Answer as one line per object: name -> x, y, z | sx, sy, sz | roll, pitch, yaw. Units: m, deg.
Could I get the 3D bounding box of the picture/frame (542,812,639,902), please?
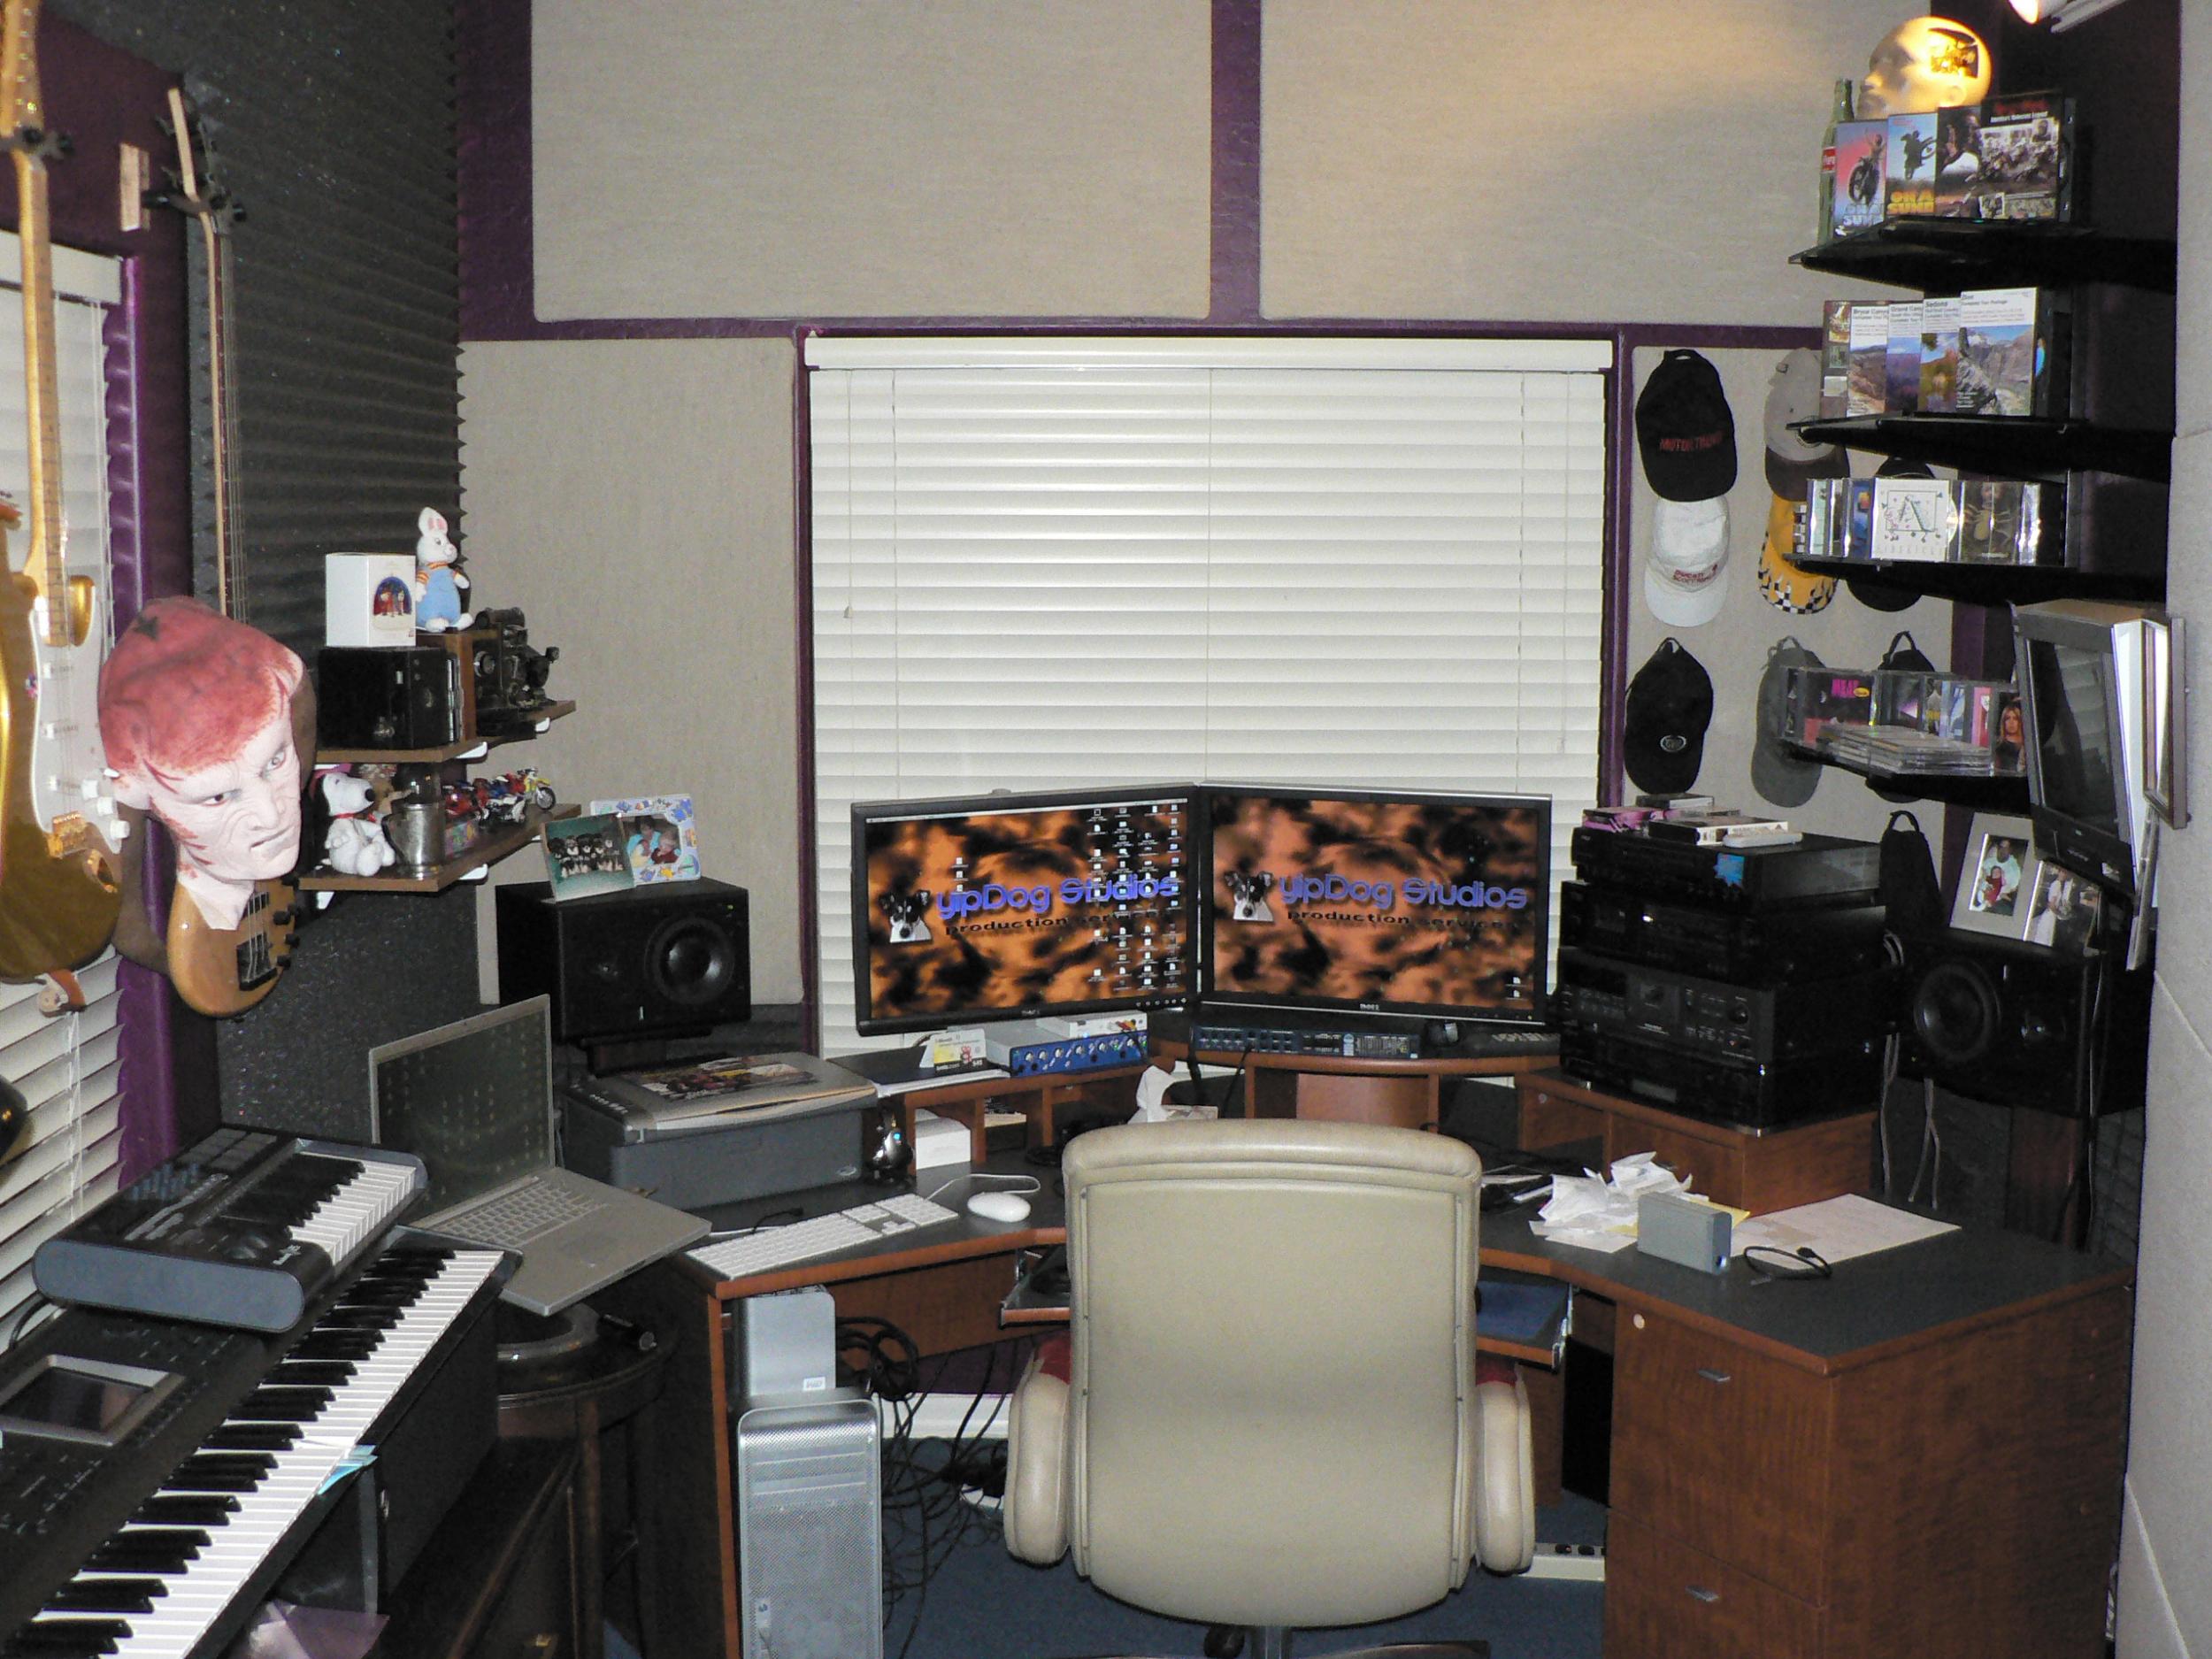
picture/frame -> -1.119, 0.060, 4.220 | 0.163, 0.183, 0.024 | -7, 7, -41

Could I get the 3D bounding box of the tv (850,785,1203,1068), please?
tv -> -0.176, 0.204, 4.197 | 0.560, 0.426, 0.061 | -3, 3, -17

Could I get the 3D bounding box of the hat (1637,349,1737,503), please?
hat -> 1.447, -1.006, 4.834 | 0.280, 0.373, 0.082 | -5, 7, -20

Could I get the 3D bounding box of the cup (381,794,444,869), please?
cup -> -1.379, 0.003, 3.887 | 0.144, 0.146, 0.092 | -3, 8, -32

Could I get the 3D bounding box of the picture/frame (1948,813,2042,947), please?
picture/frame -> 1.960, 0.114, 4.285 | 0.026, 0.393, 0.268 | 15, -9, -29

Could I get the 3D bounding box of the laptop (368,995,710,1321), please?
laptop -> -1.089, 0.604, 3.715 | 0.454, 0.395, 0.423 | 13, 16, 31

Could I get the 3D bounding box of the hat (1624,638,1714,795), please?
hat -> 1.407, -0.310, 4.829 | 0.241, 0.405, 0.100 | -4, 49, 13

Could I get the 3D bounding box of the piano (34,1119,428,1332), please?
piano -> -1.439, 0.663, 3.254 | 0.471, 0.168, 0.646 | 6, 7, -9

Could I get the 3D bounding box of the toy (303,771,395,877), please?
toy -> -1.508, -0.010, 3.851 | 0.175, 0.233, 0.128 | 3, 5, 15

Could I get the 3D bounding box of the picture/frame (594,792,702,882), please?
picture/frame -> -1.025, 0.020, 4.330 | 0.163, 0.150, 0.022 | 15, -9, -37

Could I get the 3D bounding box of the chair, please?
chair -> 0.233, 0.910, 3.499 | 0.867, 1.289, 0.797 | 0, 6, 3

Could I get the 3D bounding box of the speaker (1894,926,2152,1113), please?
speaker -> 2.008, 0.413, 4.300 | 0.286, 0.346, 0.476 | -5, 8, -28

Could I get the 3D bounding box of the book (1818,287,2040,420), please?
book -> 1.732, -0.994, 4.080 | 0.046, 0.193, 0.315 | -2, 6, -42

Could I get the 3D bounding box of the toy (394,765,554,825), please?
toy -> -1.351, -0.075, 4.200 | 0.173, 0.102, 0.087 | -15, 7, -23

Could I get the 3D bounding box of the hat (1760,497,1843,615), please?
hat -> 1.725, -0.658, 4.889 | 0.146, 0.436, 0.163 | -4, 16, -9

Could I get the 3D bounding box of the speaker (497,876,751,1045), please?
speaker -> -1.024, 0.284, 4.302 | 0.441, 0.315, 0.334 | -2, 7, -19

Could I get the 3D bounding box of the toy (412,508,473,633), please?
toy -> -1.387, -0.537, 4.047 | 0.127, 0.257, 0.143 | 18, 21, 30
